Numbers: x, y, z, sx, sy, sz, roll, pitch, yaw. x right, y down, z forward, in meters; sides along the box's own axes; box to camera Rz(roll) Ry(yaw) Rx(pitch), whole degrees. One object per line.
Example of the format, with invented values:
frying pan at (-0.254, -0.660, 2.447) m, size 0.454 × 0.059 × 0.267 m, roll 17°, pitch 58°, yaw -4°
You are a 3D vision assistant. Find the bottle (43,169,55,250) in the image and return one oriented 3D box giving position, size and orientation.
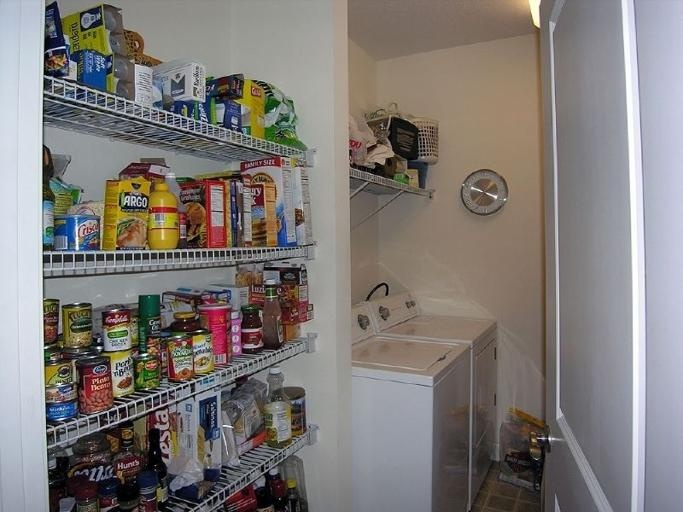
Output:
bottle at (-0.727, -0.117, 1.408) m, size 0.030 × 0.158 × 0.135 m, roll -4°, pitch 3°, yaw -25°

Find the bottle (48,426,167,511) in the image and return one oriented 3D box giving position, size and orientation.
bottle at (-0.664, 0.601, 1.615) m, size 0.158 × 0.266 × 0.263 m, roll -15°, pitch -21°, yaw 43°

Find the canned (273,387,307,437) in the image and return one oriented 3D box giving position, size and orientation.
canned at (-0.202, 0.593, 2.129) m, size 0.133 × 0.158 × 0.132 m, roll 2°, pitch -4°, yaw -38°

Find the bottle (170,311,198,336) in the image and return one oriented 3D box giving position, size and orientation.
bottle at (-0.473, 0.199, 1.708) m, size 0.062 × 0.064 × 0.065 m, roll 1°, pitch 2°, yaw 9°

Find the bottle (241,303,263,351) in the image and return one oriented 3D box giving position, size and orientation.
bottle at (-0.300, 0.249, 1.937) m, size 0.088 × 0.163 × 0.092 m, roll -4°, pitch 0°, yaw 0°

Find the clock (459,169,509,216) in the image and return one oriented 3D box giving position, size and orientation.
clock at (0.857, -0.387, 3.410) m, size 0.271 × 0.265 × 0.272 m, roll 3°, pitch 5°, yaw 42°

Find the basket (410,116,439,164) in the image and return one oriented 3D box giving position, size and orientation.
basket at (0.480, -0.697, 3.443) m, size 0.221 × 0.252 × 0.213 m, roll 1°, pitch -2°, yaw -25°

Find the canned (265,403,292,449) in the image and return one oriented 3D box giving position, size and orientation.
canned at (-0.227, 0.596, 2.034) m, size 0.095 × 0.175 × 0.101 m, roll -3°, pitch -10°, yaw -18°
